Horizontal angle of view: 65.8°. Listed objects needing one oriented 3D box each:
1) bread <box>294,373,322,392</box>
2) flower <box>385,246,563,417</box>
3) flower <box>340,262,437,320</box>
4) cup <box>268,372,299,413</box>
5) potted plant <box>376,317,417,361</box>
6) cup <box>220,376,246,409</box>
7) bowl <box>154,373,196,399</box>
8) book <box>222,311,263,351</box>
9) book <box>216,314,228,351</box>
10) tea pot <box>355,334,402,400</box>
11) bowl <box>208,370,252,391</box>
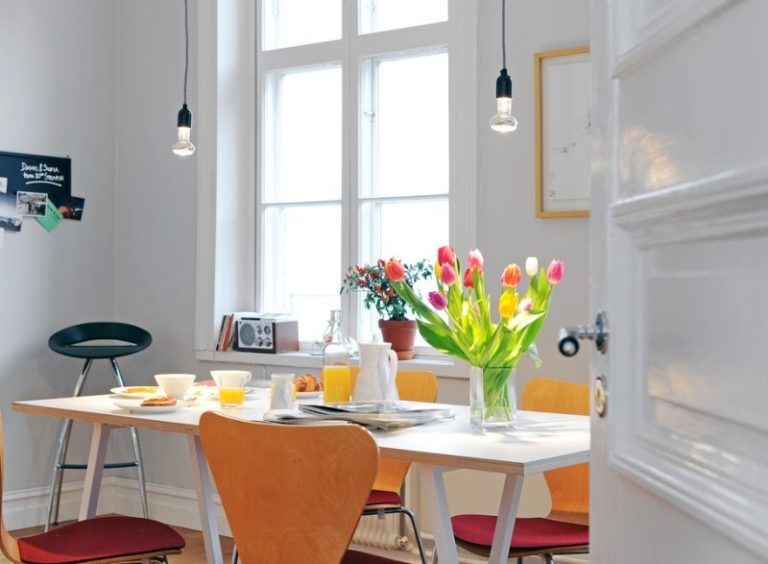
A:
[{"bbox_3d":[-0.281,0.375,2.225,0.064,0.047,0.076,1,-7,4],"label":"bread"},{"bbox_3d":[0.312,0.136,1.966,0.510,0.628,0.532,5,-8,-43],"label":"flower"},{"bbox_3d":[0.024,0.034,3.240,0.358,0.346,0.340,0,-2,-21],"label":"flower"},{"bbox_3d":[-0.323,0.379,2.018,0.079,0.152,0.132,2,-4,-31],"label":"cup"},{"bbox_3d":[0.064,0.289,3.129,0.178,0.229,0.196,-1,-1,-11],"label":"potted plant"},{"bbox_3d":[-0.536,0.379,2.082,0.079,0.105,0.103,-6,-11,37],"label":"cup"},{"bbox_3d":[-0.780,0.381,2.220,0.103,0.091,0.122,0,-5,9],"label":"bowl"},{"bbox_3d":[-0.845,0.284,3.661,0.183,0.294,0.265,0,-3,26],"label":"book"},{"bbox_3d":[-0.988,0.308,3.611,0.033,0.171,0.152,11,1,-6],"label":"book"},{"bbox_3d":[-0.045,0.290,1.953,0.132,0.211,0.165,3,-3,-45],"label":"tea pot"},{"bbox_3d":[-0.541,0.341,2.136,0.116,0.058,0.105,6,-11,-34],"label":"bowl"}]
